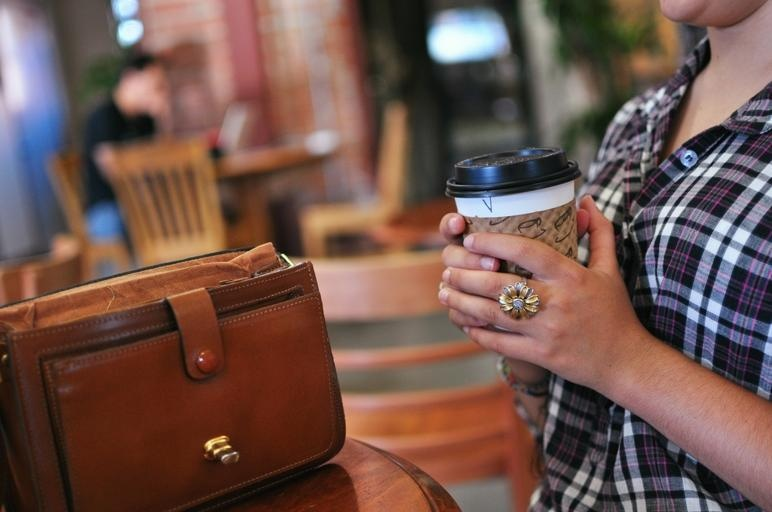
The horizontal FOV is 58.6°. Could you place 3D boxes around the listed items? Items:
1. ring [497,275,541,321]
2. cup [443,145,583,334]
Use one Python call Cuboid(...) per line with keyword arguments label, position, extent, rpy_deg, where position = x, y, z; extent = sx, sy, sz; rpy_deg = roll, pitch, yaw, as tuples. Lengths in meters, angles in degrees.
Cuboid(label="ring", position=(0.189, 0.059, 0.964), extent=(0.045, 0.059, 0.021), rpy_deg=(4, -4, 4))
Cuboid(label="cup", position=(0.179, -0.035, 1.011), extent=(0.124, 0.223, 0.138), rpy_deg=(11, 19, 26))
